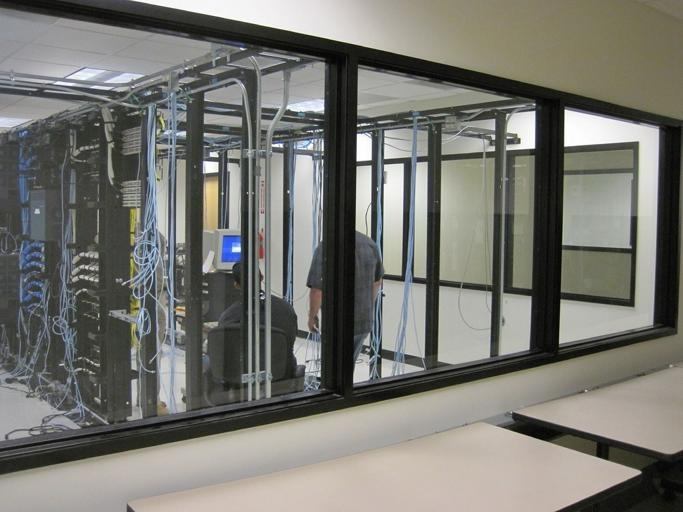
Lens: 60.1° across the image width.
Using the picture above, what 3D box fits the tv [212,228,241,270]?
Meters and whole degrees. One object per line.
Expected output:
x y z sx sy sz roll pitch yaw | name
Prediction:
-0.495 -0.036 2.522 0.086 0.172 0.162 4 4 42 | tv

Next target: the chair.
-0.432 0.481 2.743 0.373 0.348 0.320 0 -2 -19 | chair
